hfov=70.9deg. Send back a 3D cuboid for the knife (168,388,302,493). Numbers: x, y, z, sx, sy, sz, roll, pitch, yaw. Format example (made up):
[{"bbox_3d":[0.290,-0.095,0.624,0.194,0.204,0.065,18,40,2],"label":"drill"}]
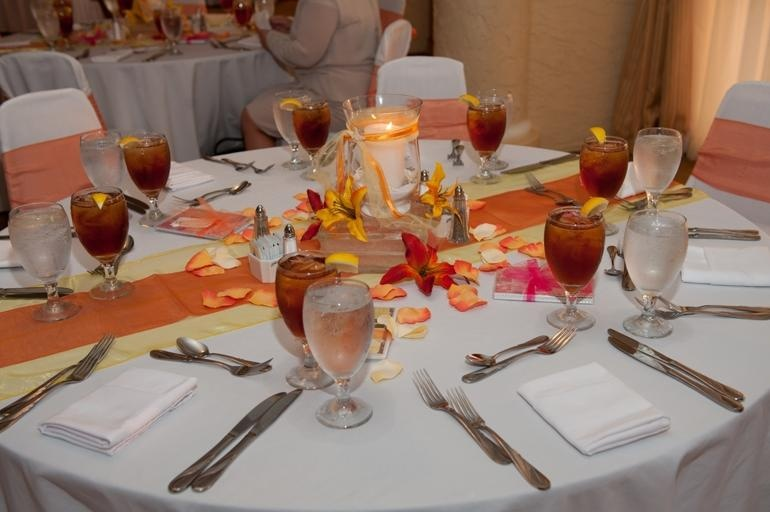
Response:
[{"bbox_3d":[-0.246,0.311,0.955,0.067,0.019,0.299,17,36,27],"label":"knife"}]

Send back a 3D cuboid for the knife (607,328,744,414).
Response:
[{"bbox_3d":[0.520,0.205,1.102,0.070,0.029,0.352,-25,38,-33],"label":"knife"}]

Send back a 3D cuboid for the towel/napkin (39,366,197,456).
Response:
[{"bbox_3d":[-0.474,0.249,0.978,0.138,0.031,0.165,8,26,25],"label":"towel/napkin"}]

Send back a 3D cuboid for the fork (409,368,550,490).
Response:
[{"bbox_3d":[0.131,0.278,1.019,0.074,0.060,0.426,-20,41,-22],"label":"fork"}]
